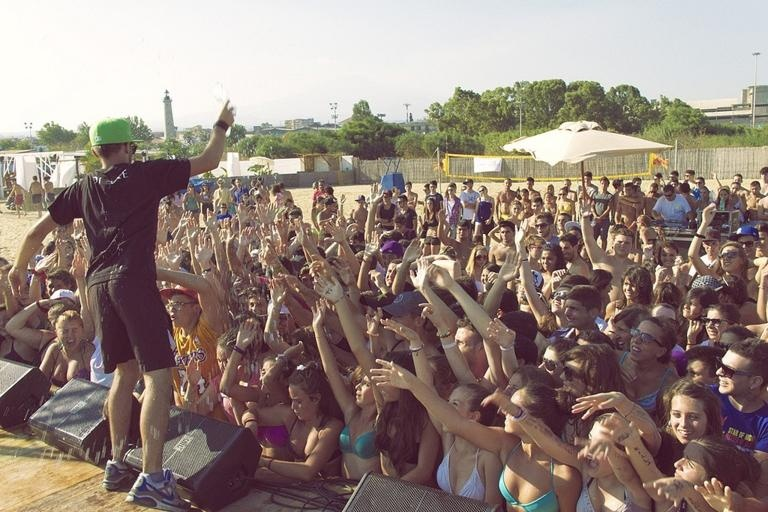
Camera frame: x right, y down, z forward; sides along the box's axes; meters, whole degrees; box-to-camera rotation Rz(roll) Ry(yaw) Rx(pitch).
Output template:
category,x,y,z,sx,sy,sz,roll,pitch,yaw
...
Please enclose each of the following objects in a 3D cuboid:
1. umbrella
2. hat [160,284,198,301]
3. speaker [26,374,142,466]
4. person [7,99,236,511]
category,x,y,z,sx,sy,sz,roll,pitch,yaw
umbrella,3.534,-2.042,12.009,1.657,0.899,2.057,3,16,26
hat,-1.868,0.318,5.968,0.233,0.105,0.164,14,-6,-9
speaker,-2.658,1.617,6.036,0.910,0.711,0.688,2,26,40
person,-1.889,0.420,5.127,1.018,2.957,0.821,3,8,20
